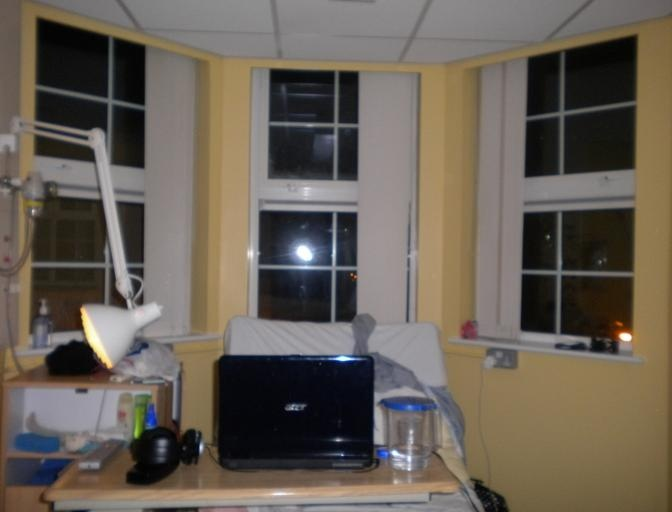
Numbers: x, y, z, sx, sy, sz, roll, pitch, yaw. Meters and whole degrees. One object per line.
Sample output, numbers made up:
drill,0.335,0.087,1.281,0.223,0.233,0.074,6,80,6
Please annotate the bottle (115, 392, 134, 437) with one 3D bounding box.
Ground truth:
bottle,-1.148,0.859,3.488,0.121,0.235,0.070,-3,-2,42

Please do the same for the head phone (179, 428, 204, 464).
head phone,-0.653,0.846,2.903,0.103,0.162,0.055,4,-2,-3

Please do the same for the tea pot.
tea pot,0.340,0.831,3.027,0.346,0.374,0.269,0,1,8
